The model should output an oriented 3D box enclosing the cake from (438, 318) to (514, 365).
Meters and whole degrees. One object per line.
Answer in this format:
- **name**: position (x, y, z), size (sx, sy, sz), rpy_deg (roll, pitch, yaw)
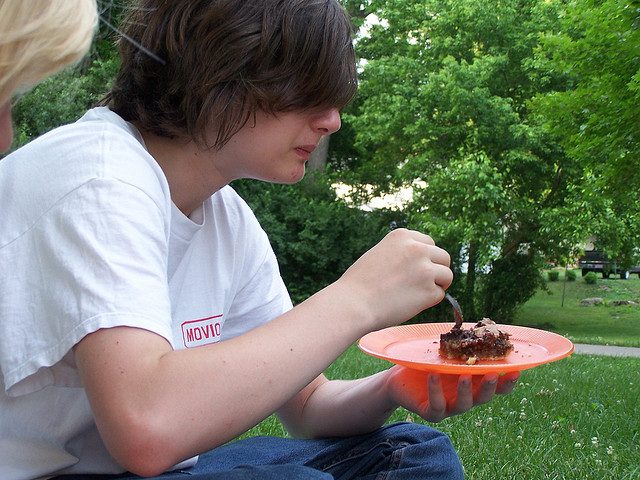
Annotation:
- **cake**: position (0.764, 0.478, 2.875), size (0.366, 0.178, 0.292), rpy_deg (-4, 4, 41)
